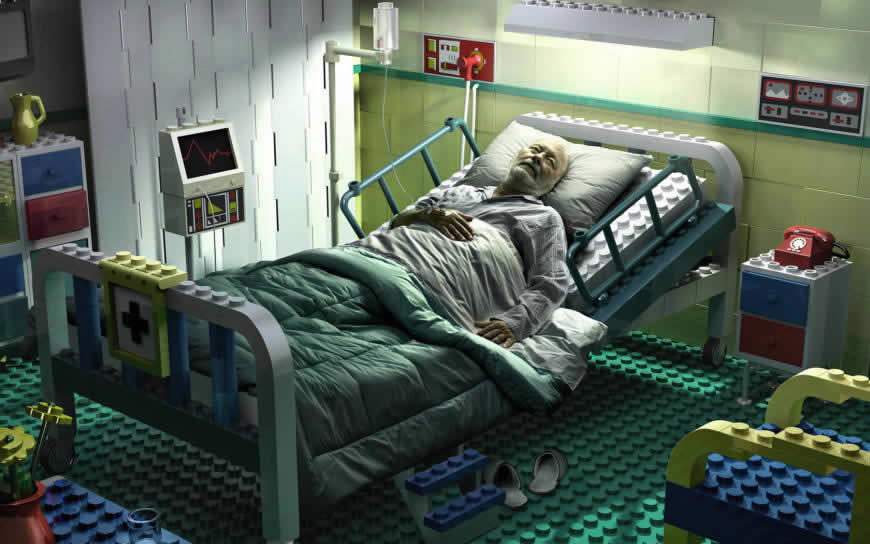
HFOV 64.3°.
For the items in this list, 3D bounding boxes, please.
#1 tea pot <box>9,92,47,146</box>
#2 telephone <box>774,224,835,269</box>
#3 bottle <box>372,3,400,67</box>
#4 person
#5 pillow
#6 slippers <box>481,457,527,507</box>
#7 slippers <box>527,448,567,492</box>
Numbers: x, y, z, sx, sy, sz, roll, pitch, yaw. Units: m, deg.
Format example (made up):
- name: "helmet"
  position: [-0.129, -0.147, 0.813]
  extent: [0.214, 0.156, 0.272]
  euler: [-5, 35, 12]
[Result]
- name: "tea pot"
  position: [-2.673, -1.020, 4.561]
  extent: [0.187, 0.298, 0.345]
  euler: [-4, 20, -13]
- name: "telephone"
  position: [2.291, -0.168, 4.325]
  extent: [0.256, 0.189, 0.321]
  euler: [-21, 23, -25]
- name: "bottle"
  position: [-0.356, -1.741, 5.037]
  extent: [0.153, 0.409, 0.260]
  euler: [2, 20, 3]
- name: "person"
  position: [0.561, -0.202, 4.328]
  extent: [0.988, 0.334, 1.345]
  euler: [19, 45, 31]
- name: "pillow"
  position: [0.860, -0.681, 4.503]
  extent: [0.956, 0.219, 0.921]
  euler: [21, 48, 31]
- name: "slippers"
  position: [0.349, 1.061, 3.528]
  extent: [0.128, 0.102, 0.347]
  euler: [-11, 29, -14]
- name: "slippers"
  position: [0.596, 1.047, 3.659]
  extent: [0.114, 0.080, 0.284]
  euler: [7, 29, 21]
